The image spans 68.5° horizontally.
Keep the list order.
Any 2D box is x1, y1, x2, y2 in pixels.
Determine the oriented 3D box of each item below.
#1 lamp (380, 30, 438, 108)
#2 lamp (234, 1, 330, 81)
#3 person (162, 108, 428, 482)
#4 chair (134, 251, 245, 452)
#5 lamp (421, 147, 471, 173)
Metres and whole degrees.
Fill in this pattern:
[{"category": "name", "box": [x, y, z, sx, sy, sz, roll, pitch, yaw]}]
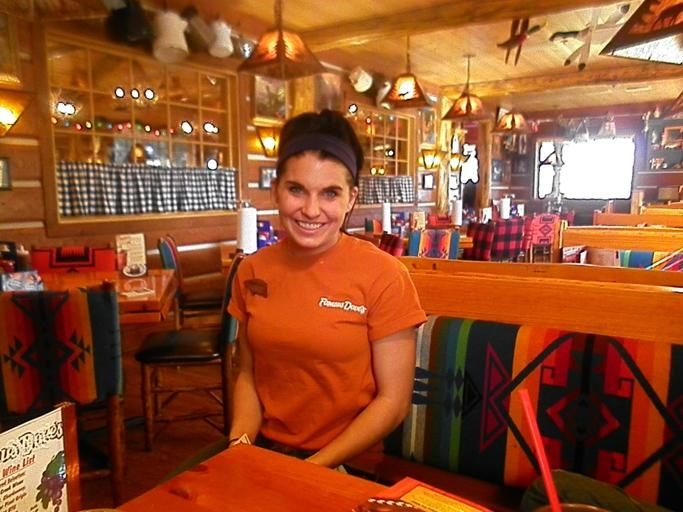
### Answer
[{"category": "lamp", "box": [0.671, -1.900, 4.983, 0.548, 0.735, 0.459, 8, 31, 18]}, {"category": "lamp", "box": [-0.441, -1.631, 3.681, 0.504, 0.575, 0.407, 6, 11, 39]}, {"category": "person", "box": [-0.158, 0.130, 1.541, 0.661, 1.106, 0.656, 5, 6, 36]}, {"category": "chair", "box": [-0.857, 0.502, 2.882, 0.644, 0.884, 0.604, -3, 6, -23]}, {"category": "lamp", "box": [2.039, -1.915, 9.991, 0.440, 0.341, 1.478, 15, 16, 40]}]
